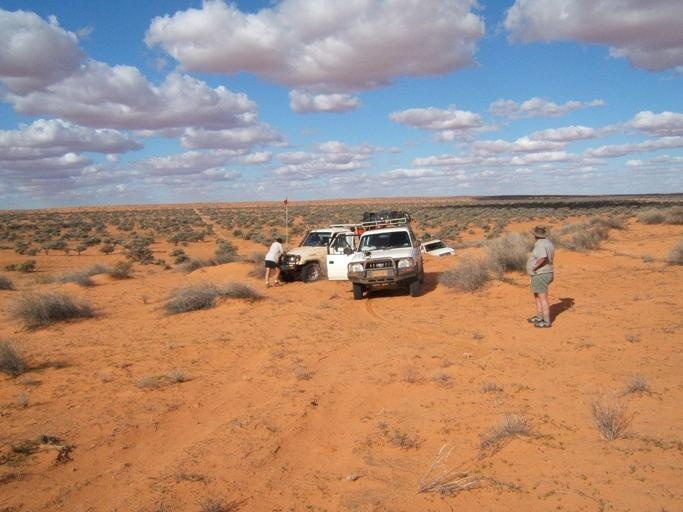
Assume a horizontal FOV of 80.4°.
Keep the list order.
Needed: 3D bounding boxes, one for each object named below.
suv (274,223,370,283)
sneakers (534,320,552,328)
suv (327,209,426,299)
[{"bbox_3d":[-0.757,-0.098,16.184,3.234,1.732,1.866,-4,2,-45],"label":"suv"},{"bbox_3d":[4.745,1.605,9.554,0.311,0.123,0.161,1,0,-15],"label":"sneakers"},{"bbox_3d":[1.551,-0.169,13.980,2.390,1.857,3.855,-3,1,12],"label":"suv"}]
